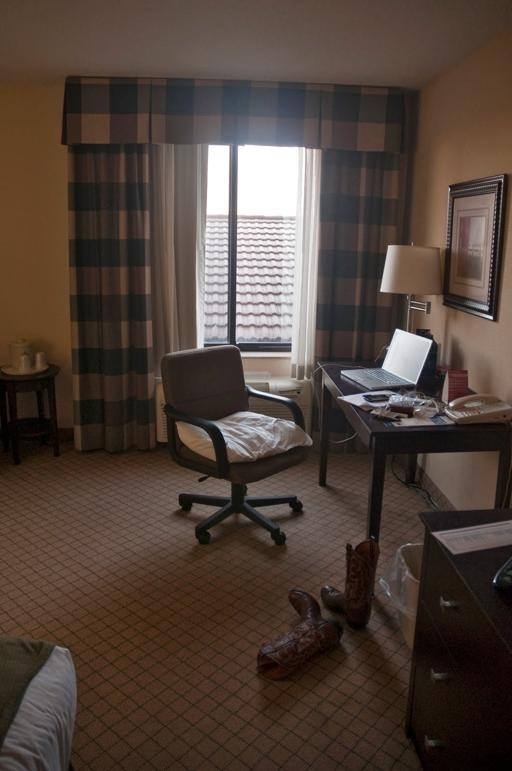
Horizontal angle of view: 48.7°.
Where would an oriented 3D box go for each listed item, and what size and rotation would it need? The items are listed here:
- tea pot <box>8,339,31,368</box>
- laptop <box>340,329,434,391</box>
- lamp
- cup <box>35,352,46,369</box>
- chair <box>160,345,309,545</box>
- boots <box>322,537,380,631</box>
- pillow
[{"bbox_3d":[-1.512,-0.210,3.675,0.139,0.224,0.214,2,12,-7],"label":"tea pot"},{"bbox_3d":[0.675,-0.142,2.841,0.220,0.339,0.367,20,1,-20],"label":"laptop"},{"bbox_3d":[0.816,-0.552,2.932,0.307,0.331,0.191,3,11,15],"label":"lamp"},{"bbox_3d":[-1.390,-0.155,3.662,0.076,0.099,0.079,0,11,0],"label":"cup"},{"bbox_3d":[-0.089,0.275,2.832,0.606,0.880,0.681,-8,17,-31],"label":"chair"},{"bbox_3d":[0.360,0.761,2.119,0.130,0.402,0.335,-7,32,-9],"label":"boots"},{"bbox_3d":[-0.057,0.241,2.767,0.568,0.136,0.451,-10,16,-41],"label":"pillow"}]
